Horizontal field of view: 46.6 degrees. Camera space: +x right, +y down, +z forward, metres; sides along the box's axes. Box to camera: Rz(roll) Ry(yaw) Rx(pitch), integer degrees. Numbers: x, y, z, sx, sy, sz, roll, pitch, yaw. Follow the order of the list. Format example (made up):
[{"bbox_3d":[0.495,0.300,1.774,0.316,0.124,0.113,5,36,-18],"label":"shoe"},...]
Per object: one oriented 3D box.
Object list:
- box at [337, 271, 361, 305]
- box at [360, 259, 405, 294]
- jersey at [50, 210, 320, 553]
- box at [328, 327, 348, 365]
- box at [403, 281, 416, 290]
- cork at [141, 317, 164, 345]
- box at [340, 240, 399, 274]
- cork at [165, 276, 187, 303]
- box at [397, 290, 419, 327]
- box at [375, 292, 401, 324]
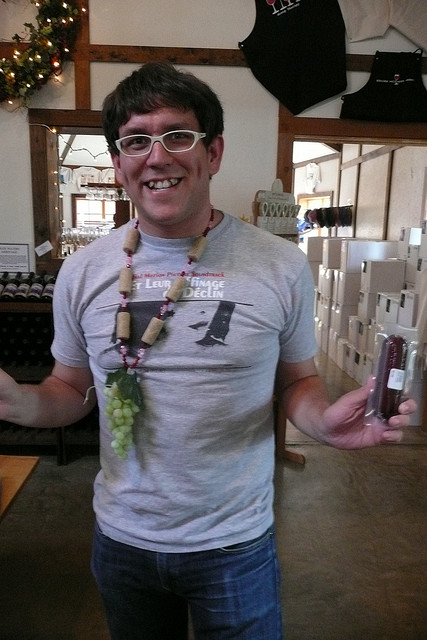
[{"bbox_3d":[1.548,-0.405,5.920,0.335,0.427,0.464,-1,9,-1],"label":"box"},{"bbox_3d":[1.692,-0.461,5.087,0.383,0.337,0.369,-1,9,-7],"label":"box"},{"bbox_3d":[-0.071,0.129,1.109,0.471,0.687,0.424,5,11,0],"label":"jersey"},{"bbox_3d":[1.502,0.318,5.980,0.245,0.391,0.432,-2,8,-4],"label":"box"},{"bbox_3d":[1.930,-0.342,4.923,0.119,0.102,0.161,3,5,3],"label":"box"},{"bbox_3d":[-0.113,0.021,0.937,0.021,0.049,0.046,8,12,41],"label":"cork"},{"bbox_3d":[1.756,-0.774,5.643,0.742,0.421,0.378,-1,13,-4],"label":"box"},{"bbox_3d":[-0.070,-0.059,0.954,0.043,0.050,0.032,-2,9,-9],"label":"cork"},{"bbox_3d":[1.376,-0.091,3.501,0.155,0.255,0.281,3,5,7],"label":"box"},{"bbox_3d":[1.446,-0.103,4.115,0.169,0.210,0.313,1,3,2],"label":"box"}]
